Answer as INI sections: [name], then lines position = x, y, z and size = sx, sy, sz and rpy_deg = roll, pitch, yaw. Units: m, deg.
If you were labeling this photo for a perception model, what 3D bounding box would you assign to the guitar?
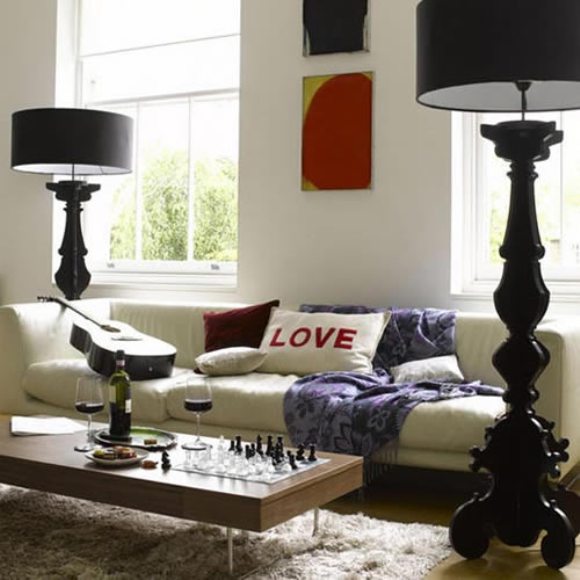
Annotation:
[guitar]
position = -0.954, 0.181, 3.503
size = 0.790, 0.126, 0.311
rpy_deg = 23, 8, 42
